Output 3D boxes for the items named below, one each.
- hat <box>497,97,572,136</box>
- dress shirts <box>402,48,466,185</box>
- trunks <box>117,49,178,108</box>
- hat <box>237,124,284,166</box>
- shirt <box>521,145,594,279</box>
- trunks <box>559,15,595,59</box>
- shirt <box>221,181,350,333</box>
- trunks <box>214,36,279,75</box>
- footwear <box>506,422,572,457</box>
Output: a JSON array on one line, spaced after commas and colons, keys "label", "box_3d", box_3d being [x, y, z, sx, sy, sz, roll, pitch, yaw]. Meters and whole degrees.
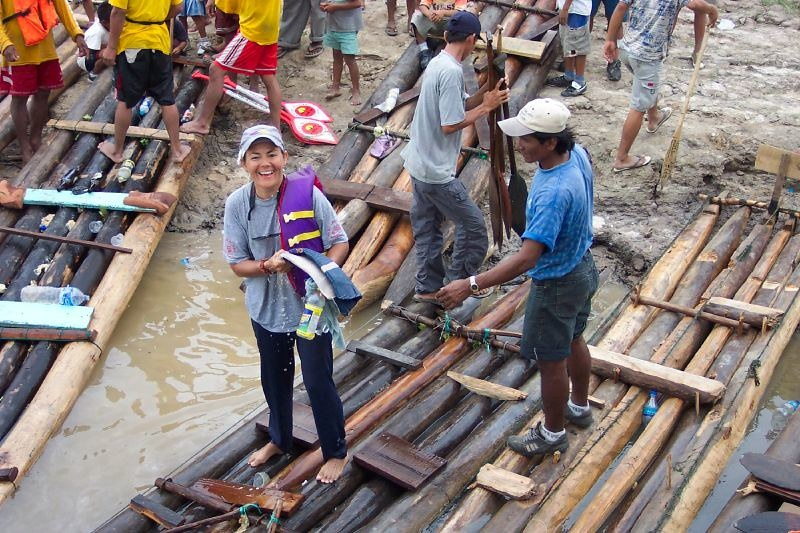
[{"label": "hat", "box_3d": [1.045, -1.120, 5.268, 0.421, 0.174, 0.281, -5, 45, 4]}, {"label": "dress shirts", "box_3d": [0.389, -1.514, 7.074, 0.491, 1.254, 1.007, -6, 19, -15]}, {"label": "trunks", "box_3d": [-3.125, -2.389, 8.435, 0.684, 0.706, 0.403, -6, 27, -37]}, {"label": "hat", "box_3d": [-1.061, -0.973, 5.199, 0.313, 0.185, 0.428, -11, 7, -13]}, {"label": "shirt", "box_3d": [1.274, -0.461, 5.607, 0.533, 0.989, 1.264, 4, 36, 21]}, {"label": "trunks", "box_3d": [2.650, -3.654, 10.507, 0.495, 0.630, 0.889, -1, 22, 13]}, {"label": "shirt", "box_3d": [-0.943, -0.146, 5.487, 0.981, 1.155, 0.567, -8, 14, -6]}, {"label": "trunks", "box_3d": [-1.949, -2.729, 8.847, 0.849, 0.502, 0.615, -6, -21, -20]}, {"label": "footwear", "box_3d": [1.153, 1.460, 5.824, 0.573, 0.223, 0.314, 0, -14, 18]}]
